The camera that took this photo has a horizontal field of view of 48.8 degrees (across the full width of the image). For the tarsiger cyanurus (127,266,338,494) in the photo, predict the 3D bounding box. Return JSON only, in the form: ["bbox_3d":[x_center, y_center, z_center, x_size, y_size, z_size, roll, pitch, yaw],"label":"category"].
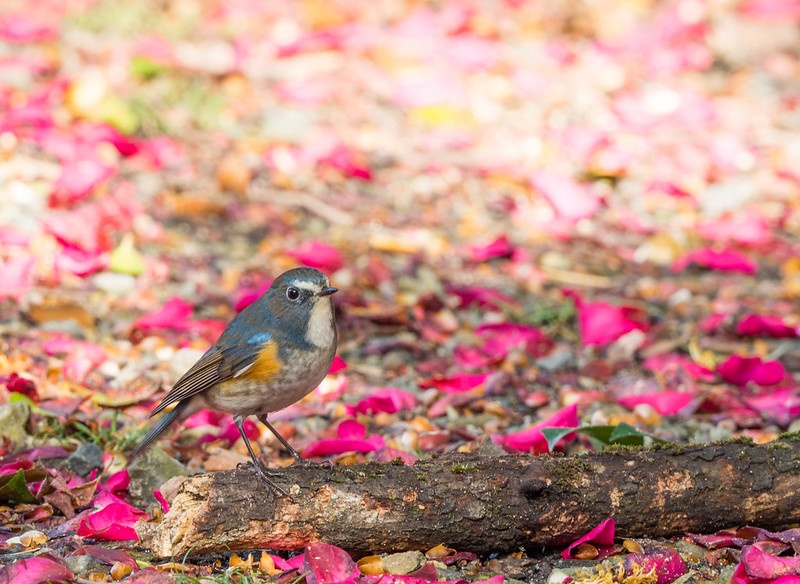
[{"bbox_3d":[-1.229,0.285,4.456,1.590,0.896,0.703,-6,-6,19],"label":"tarsiger cyanurus"}]
